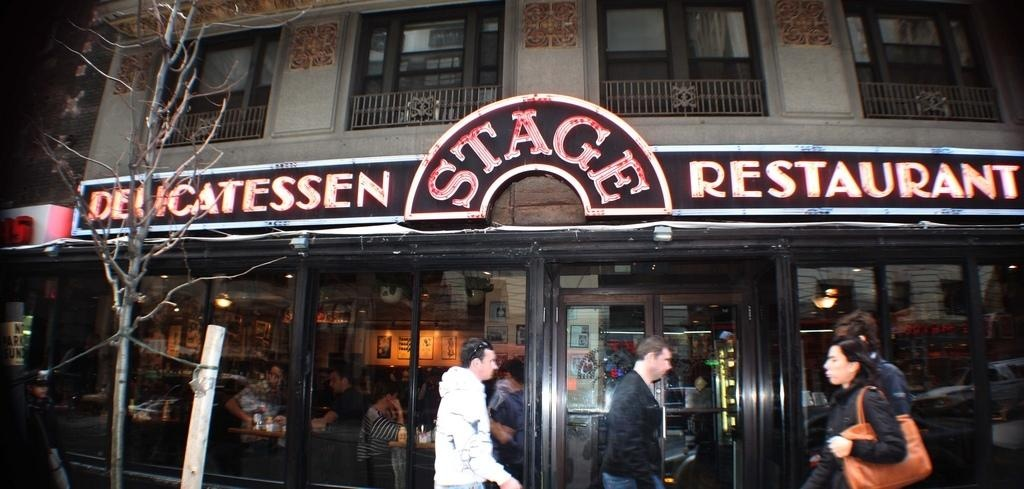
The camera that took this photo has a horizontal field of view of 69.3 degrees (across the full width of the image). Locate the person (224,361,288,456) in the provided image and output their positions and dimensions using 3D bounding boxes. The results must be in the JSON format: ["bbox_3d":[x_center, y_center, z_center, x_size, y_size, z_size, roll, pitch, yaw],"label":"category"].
[{"bbox_3d":[-5.690,3.665,16.577,1.261,1.962,0.329,-2,-14,11],"label":"person"}]

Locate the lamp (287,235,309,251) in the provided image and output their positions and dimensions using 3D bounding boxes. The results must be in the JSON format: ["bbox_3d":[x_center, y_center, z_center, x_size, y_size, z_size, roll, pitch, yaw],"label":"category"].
[{"bbox_3d":[-4.624,-0.047,16.122,0.541,0.402,0.302,-1,-56,-11],"label":"lamp"}]

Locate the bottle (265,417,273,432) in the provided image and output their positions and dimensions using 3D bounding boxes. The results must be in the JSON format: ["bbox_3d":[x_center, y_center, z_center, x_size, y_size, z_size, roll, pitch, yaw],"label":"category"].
[{"bbox_3d":[-5.410,3.979,16.503,0.208,0.306,0.052,-3,-14,16],"label":"bottle"}]

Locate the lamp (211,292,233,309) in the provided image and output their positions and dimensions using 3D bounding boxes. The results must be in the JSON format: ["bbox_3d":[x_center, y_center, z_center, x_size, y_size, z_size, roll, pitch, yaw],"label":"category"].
[{"bbox_3d":[-6.620,1.297,16.943,0.407,0.165,0.346,-4,-20,8],"label":"lamp"}]

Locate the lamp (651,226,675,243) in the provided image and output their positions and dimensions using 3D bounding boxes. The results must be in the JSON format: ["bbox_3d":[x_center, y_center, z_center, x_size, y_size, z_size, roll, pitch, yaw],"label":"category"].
[{"bbox_3d":[3.117,-0.203,15.425,0.416,0.306,0.259,2,6,8],"label":"lamp"}]
